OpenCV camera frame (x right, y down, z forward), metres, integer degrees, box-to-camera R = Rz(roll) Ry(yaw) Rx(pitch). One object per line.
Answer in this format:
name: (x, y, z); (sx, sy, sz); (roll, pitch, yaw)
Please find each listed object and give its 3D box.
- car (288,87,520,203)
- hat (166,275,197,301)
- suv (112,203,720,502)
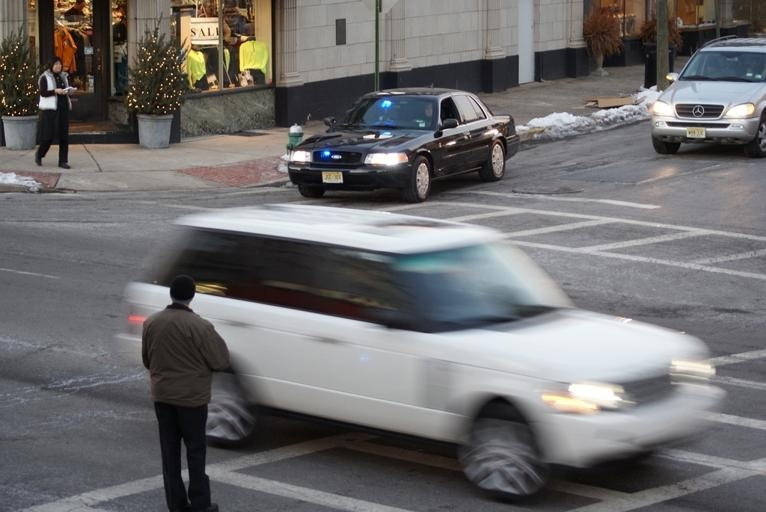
car: (0.466, -2.293, 20.594); (2.088, 2.215, 4.249); (7, 12, 43)
hat: (-1.701, 0.268, 8.768); (0.216, 0.204, 0.243); (2, 22, -1)
suv: (0.336, 0.696, 10.233); (5.618, 1.686, 2.584); (3, 8, 26)
